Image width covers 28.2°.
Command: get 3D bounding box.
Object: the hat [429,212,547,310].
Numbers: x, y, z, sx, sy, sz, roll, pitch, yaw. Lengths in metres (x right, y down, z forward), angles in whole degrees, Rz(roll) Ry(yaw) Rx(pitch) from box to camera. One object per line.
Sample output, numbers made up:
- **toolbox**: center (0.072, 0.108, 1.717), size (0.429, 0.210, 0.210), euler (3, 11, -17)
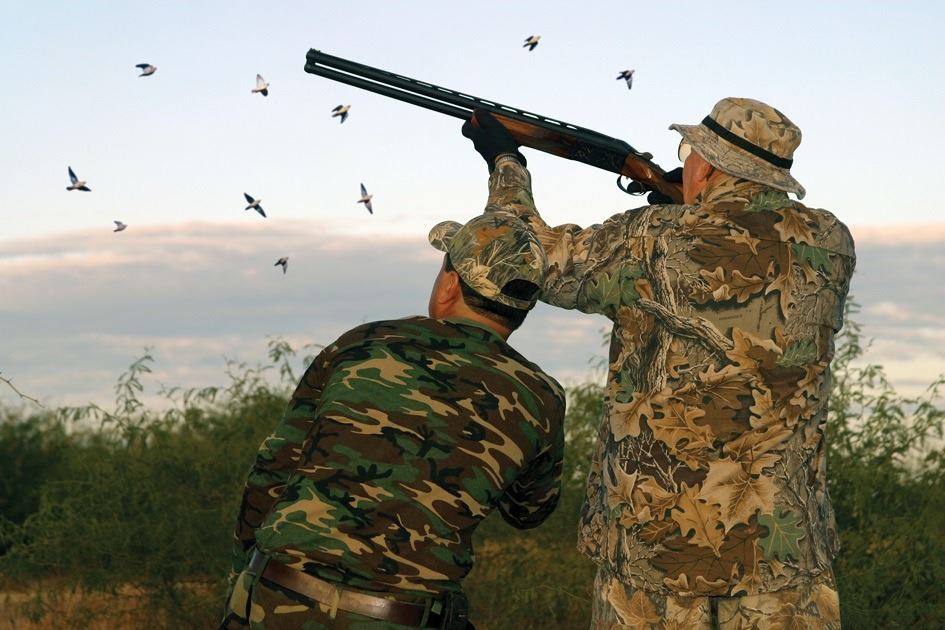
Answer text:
- **hat**: center (0.131, -0.463, 13.136), size (0.603, 0.808, 0.466), euler (-15, -32, -33)
